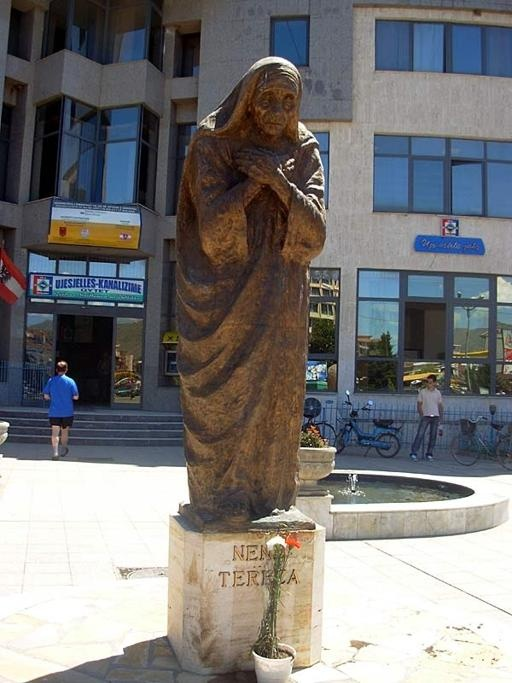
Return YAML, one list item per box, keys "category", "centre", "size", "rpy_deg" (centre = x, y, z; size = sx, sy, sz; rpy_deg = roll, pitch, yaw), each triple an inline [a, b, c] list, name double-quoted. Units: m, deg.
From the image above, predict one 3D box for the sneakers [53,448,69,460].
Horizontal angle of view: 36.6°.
- category: "sneakers"
  centre: [-3.382, 1.945, 13.256]
  size: [0.191, 0.262, 0.651]
  rpy_deg: [1, -9, -8]

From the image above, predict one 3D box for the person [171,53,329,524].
- category: "person"
  centre: [-0.027, -0.276, 4.119]
  size: [0.811, 2.410, 0.566]
  rpy_deg: [1, -2, -5]

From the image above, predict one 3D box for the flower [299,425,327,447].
- category: "flower"
  centre: [0.617, 1.048, 8.339]
  size: [0.332, 0.265, 0.417]
  rpy_deg: [4, -2, -1]

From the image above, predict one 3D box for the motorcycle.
- category: "motorcycle"
  centre: [2.530, 1.908, 16.907]
  size: [1.771, 1.470, 1.021]
  rpy_deg: [3, -2, 13]

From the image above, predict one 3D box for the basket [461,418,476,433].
- category: "basket"
  centre: [4.286, 1.710, 15.514]
  size: [0.300, 0.288, 0.248]
  rpy_deg: [1, -3, 12]

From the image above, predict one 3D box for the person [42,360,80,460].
- category: "person"
  centre: [-3.429, 1.195, 13.502]
  size: [0.558, 1.644, 1.758]
  rpy_deg: [1, -2, -14]
